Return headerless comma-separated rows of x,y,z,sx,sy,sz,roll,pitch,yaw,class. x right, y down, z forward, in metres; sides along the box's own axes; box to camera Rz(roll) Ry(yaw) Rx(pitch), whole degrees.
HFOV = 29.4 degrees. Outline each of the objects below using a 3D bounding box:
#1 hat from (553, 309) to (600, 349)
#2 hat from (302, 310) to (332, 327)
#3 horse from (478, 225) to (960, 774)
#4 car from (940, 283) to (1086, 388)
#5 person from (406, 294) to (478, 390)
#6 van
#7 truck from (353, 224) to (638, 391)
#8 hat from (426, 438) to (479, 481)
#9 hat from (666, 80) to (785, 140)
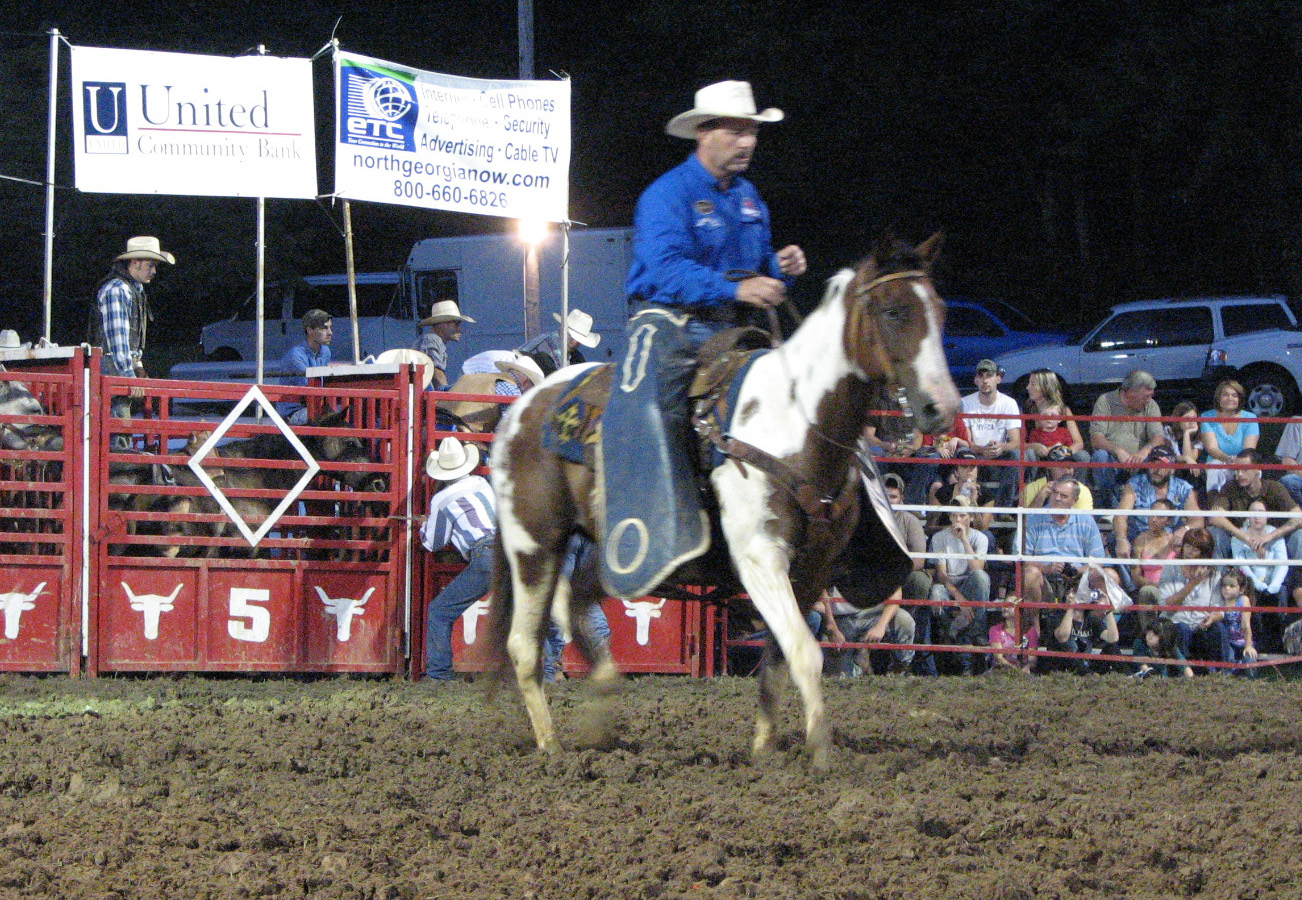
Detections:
-0.861,-1.346,28.330,0.594,0.223,0.490,31,15,-26,hat
-3.757,-1.467,27.597,0.297,0.198,0.236,-1,-2,16,hat
0.487,0.630,22.524,6.084,4.417,1.725,-8,-9,44,horse
4.308,-1.474,31.476,2.186,1.014,1.179,-7,17,3,car
-2.397,-1.072,28.804,0.805,1.243,0.811,-3,14,-7,person
-4.575,-1.783,33.374,2.336,0.934,1.291,1,4,8,van
-1.951,-1.968,31.562,2.982,1.592,1.626,0,7,8,truck
-1.973,0.100,24.487,0.517,0.443,0.208,-1,-1,-5,hat
0.577,-3.020,21.964,0.794,0.282,0.707,-7,-2,29,hat
